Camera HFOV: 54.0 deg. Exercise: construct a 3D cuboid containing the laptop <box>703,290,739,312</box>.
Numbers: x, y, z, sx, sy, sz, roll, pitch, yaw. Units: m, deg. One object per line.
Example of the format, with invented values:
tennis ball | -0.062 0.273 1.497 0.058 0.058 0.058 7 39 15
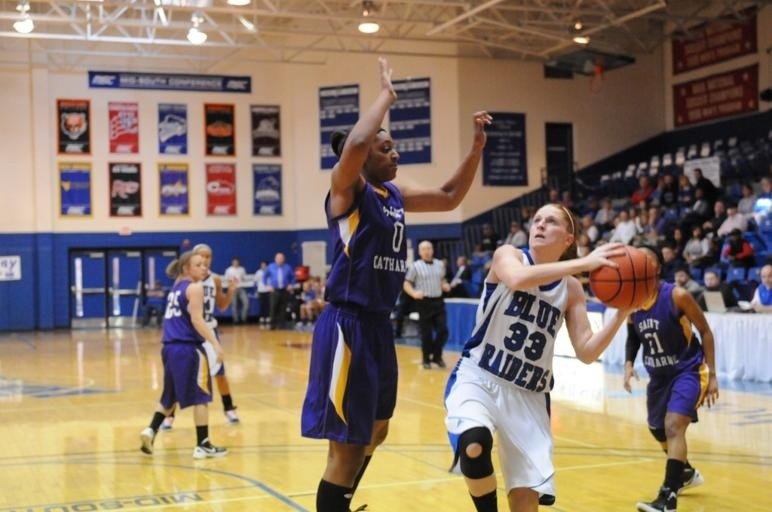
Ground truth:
laptop | 6.401 0.855 14.623 0.389 0.391 0.548 -2 2 -28
